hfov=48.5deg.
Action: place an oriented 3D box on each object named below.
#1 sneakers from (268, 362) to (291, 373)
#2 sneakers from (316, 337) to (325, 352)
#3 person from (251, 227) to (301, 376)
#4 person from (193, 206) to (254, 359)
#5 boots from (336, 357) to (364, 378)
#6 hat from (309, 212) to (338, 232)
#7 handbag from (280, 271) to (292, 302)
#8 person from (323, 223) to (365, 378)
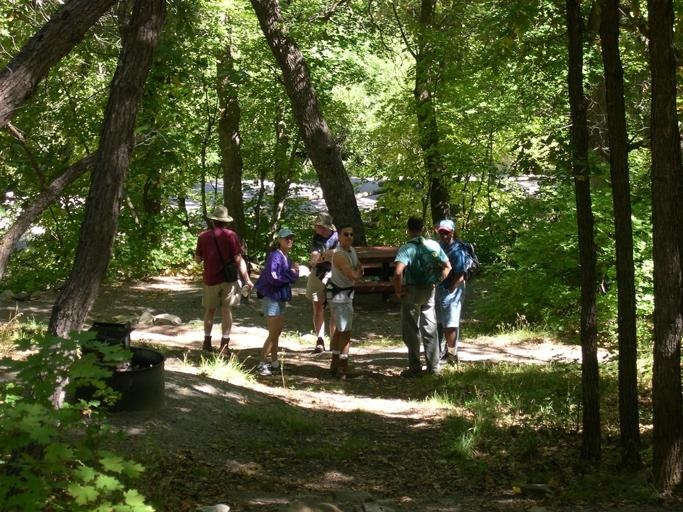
[{"bbox_3d":[-0.853,1.513,10.292,0.364,0.138,0.122,-5,-2,36],"label":"sneakers"},{"bbox_3d":[-0.331,1.369,11.722,0.216,0.243,0.604,0,-3,-1],"label":"sneakers"},{"bbox_3d":[-0.868,0.590,10.187,0.569,1.909,0.734,-1,7,-4],"label":"person"},{"bbox_3d":[-1.723,0.360,11.032,0.732,2.174,1.443,-2,7,-9],"label":"person"},{"bbox_3d":[0.141,1.510,10.366,0.465,0.282,0.191,-6,11,-29],"label":"boots"},{"bbox_3d":[-0.256,-0.465,10.898,0.296,0.142,0.281,20,5,-16],"label":"hat"},{"bbox_3d":[-0.732,0.405,9.997,0.138,0.338,0.255,3,0,9],"label":"handbag"},{"bbox_3d":[0.035,0.596,10.232,0.478,2.042,0.592,-1,7,1],"label":"person"}]
